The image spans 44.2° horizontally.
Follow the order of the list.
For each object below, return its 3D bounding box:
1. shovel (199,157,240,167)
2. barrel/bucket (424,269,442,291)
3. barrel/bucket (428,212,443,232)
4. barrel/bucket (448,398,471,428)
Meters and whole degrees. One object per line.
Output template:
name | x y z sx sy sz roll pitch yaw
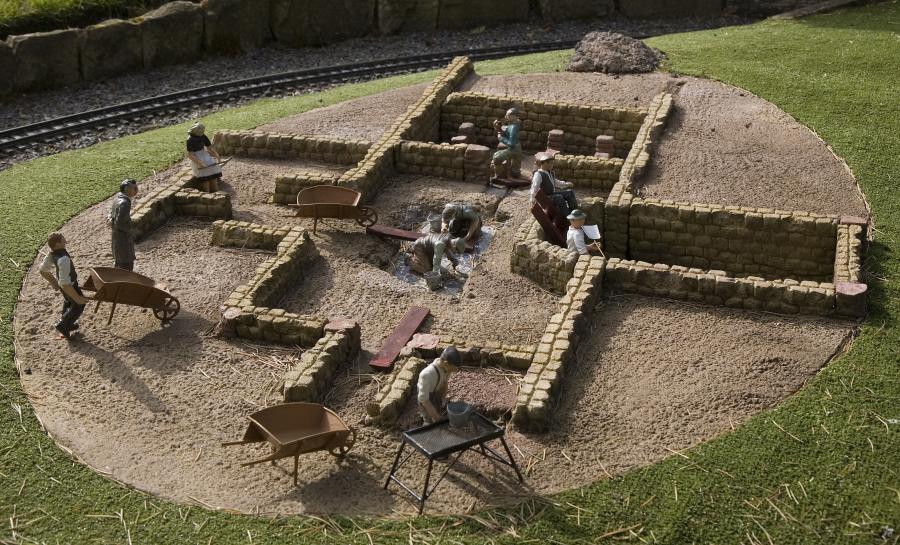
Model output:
shovel | -5.945 -2.861 28.839 1.398 0.068 0.186 -23 80 -45
barrel/bucket | -0.355 0.158 26.394 0.408 0.503 0.433 1 22 0
barrel/bucket | -0.397 -1.281 28.253 0.340 0.198 0.623 0 34 -2
barrel/bucket | 0.175 2.749 21.875 0.456 0.335 0.465 2 31 -1
